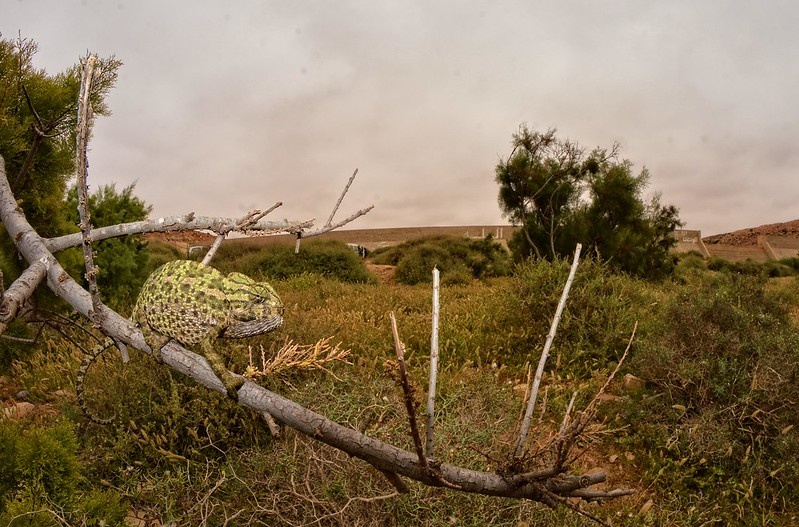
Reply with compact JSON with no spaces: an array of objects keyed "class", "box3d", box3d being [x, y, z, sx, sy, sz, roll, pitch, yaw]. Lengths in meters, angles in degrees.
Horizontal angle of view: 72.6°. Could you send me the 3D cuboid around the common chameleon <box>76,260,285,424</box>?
[{"class":"common chameleon","box3d":[-1.474,0.466,4.130,1.058,1.114,0.414,-10,-6,6]}]
